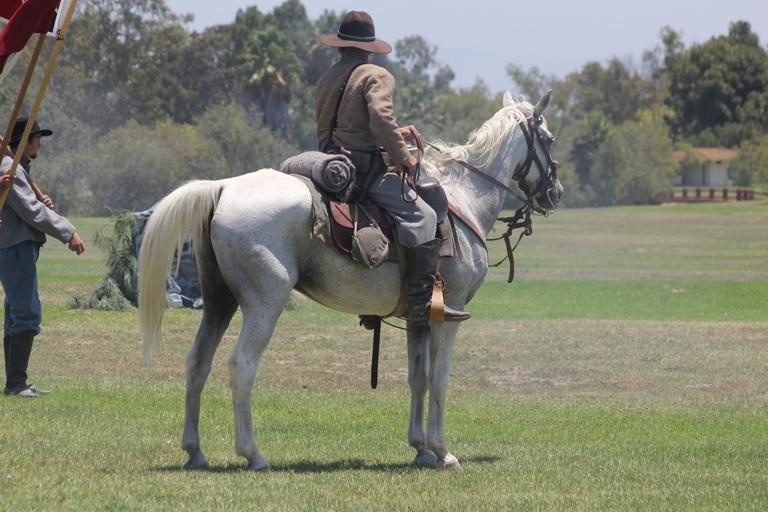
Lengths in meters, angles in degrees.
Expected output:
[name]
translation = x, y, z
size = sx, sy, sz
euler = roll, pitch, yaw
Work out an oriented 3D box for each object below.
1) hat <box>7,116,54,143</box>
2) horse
[hat]
translation = -8.365, -2.972, 45.992
size = 0.796, 0.298, 0.661
euler = -19, 15, -27
[horse]
translation = -0.598, 0.457, 46.004
size = 11.660, 8.550, 2.822
euler = -3, 7, -33
